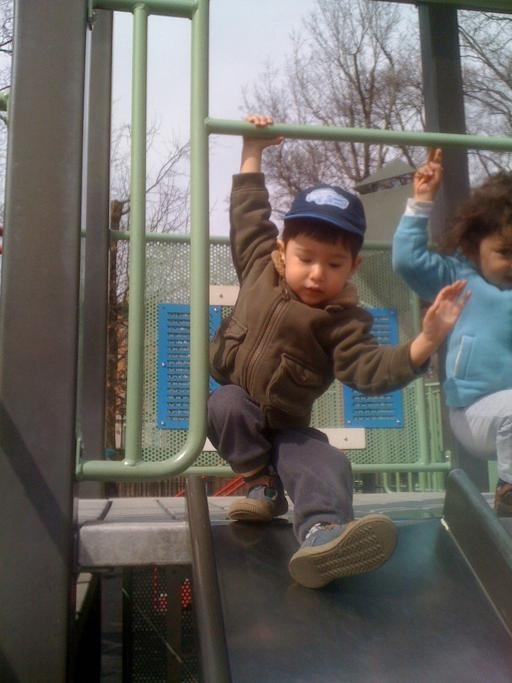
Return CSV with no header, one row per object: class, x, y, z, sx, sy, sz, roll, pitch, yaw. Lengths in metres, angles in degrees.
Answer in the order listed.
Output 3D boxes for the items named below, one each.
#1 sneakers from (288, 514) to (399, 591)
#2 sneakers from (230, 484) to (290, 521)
sneakers,0.112,0.336,1.060,0.234,0.087,0.099,-15,10,-2
sneakers,0.012,0.364,1.395,0.057,0.057,0.148,-14,-20,27
